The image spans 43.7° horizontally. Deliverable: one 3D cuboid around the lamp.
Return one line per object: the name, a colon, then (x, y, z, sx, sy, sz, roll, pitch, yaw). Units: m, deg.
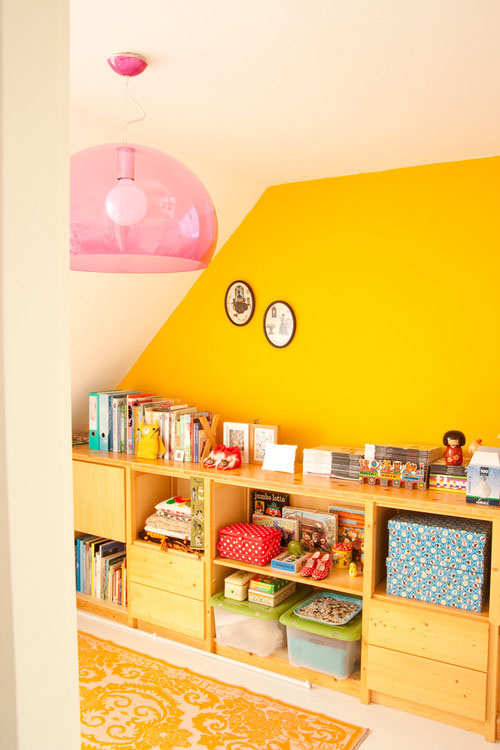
lamp: (-0.221, -0.346, 1.328, 0.306, 0.215, 0.332, 0, 0, -15)

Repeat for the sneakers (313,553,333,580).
sneakers: (0.301, 0.795, 2.606, 0.065, 0.079, 0.230, 1, 0, 14)

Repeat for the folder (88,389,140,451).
folder: (-0.758, 0.231, 3.517, 0.262, 0.360, 0.366, 1, 2, 21)

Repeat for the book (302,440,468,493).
book: (0.534, 0.363, 2.570, 0.705, 0.154, 0.172, 1, 0, 29)

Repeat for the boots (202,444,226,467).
boots: (-0.165, 0.388, 2.923, 0.072, 0.117, 0.046, 8, -26, 29)

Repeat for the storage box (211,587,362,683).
storage box: (0.162, 1.044, 2.608, 0.456, 0.158, 0.310, 2, 4, 30)

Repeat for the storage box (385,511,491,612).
storage box: (0.727, 0.650, 2.377, 0.449, 0.339, 0.265, 2, 2, 38)
